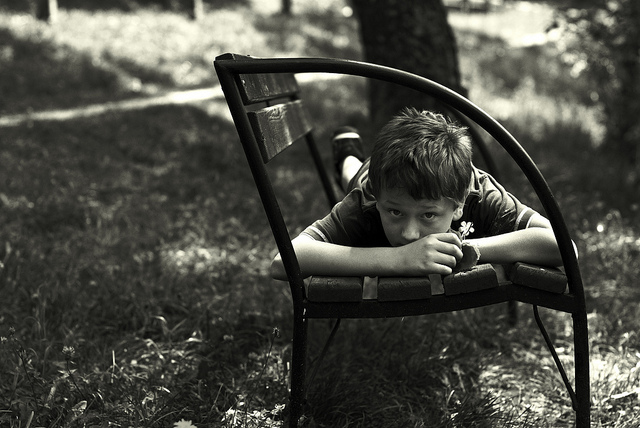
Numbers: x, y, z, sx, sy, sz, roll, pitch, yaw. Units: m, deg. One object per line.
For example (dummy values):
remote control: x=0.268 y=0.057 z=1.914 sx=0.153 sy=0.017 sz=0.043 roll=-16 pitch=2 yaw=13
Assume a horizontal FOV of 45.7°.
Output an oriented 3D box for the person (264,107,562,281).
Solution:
person: x=0.475 y=-0.142 z=3.610 sx=1.255 sy=0.617 sz=0.897 roll=5 pitch=31 yaw=11

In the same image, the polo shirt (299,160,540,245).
polo shirt: x=0.476 y=-0.078 z=3.678 sx=1.078 sy=0.356 sz=0.439 roll=-4 pitch=31 yaw=-3

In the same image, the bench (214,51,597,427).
bench: x=0.425 y=0.183 z=4.066 sx=1.225 sy=1.414 sz=2.211 roll=-3 pitch=4 yaw=-1
